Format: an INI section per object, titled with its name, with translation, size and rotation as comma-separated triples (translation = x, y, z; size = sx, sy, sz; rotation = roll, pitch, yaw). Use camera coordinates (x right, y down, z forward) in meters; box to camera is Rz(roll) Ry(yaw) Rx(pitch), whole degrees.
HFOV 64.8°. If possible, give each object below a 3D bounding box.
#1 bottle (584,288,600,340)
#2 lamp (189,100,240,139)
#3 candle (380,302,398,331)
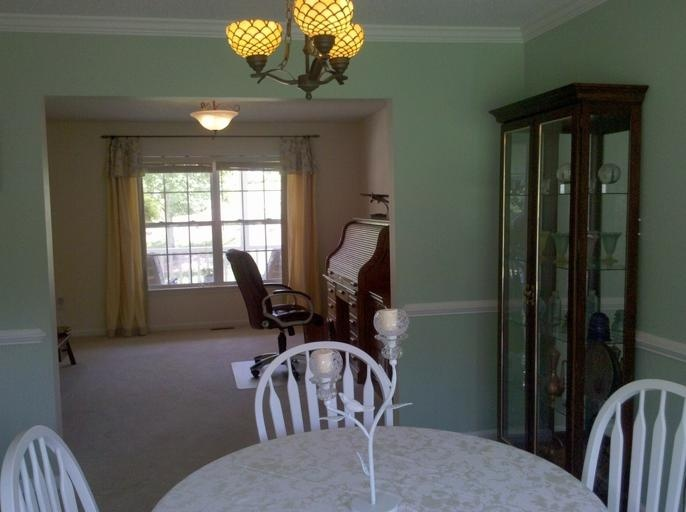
[bottle]
translation = 1.417, 0.324, 3.080
size = 0.088, 0.284, 0.023
rotation = -6, 10, -29
[lamp]
translation = -1.203, -1.270, 5.077
size = 0.440, 0.343, 0.452
rotation = 2, 4, -6
[candle]
translation = 0.177, 0.243, 2.117
size = 0.072, 0.088, 0.075
rotation = 2, 8, 12
